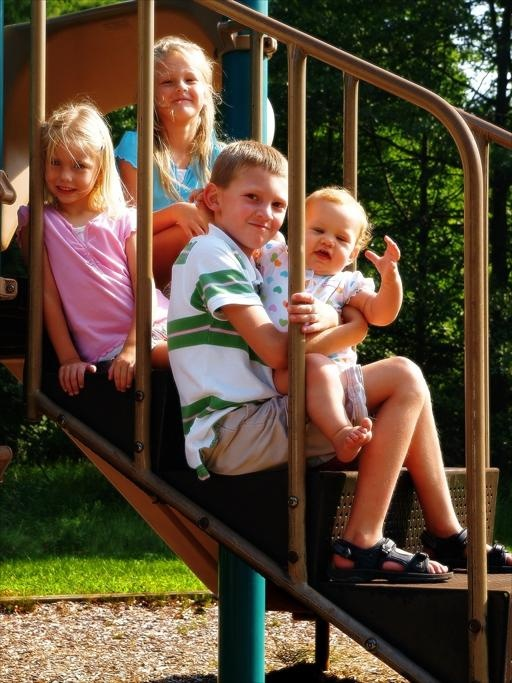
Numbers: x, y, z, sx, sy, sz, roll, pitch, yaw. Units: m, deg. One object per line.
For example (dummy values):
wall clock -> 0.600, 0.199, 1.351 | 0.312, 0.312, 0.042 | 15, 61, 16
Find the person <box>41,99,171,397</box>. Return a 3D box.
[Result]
person -> -0.366, -0.258, 2.292 | 0.310, 0.790, 0.577 | 2, -5, -6

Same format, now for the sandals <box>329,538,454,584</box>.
sandals -> 0.243, 0.407, 1.770 | 0.238, 0.090, 0.081 | -1, -7, -4

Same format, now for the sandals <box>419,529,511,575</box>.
sandals -> 0.422, 0.431, 1.935 | 0.224, 0.086, 0.078 | -1, -1, 0

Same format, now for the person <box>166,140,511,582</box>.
person -> 0.107, 0.010, 1.885 | 0.604, 0.891, 0.381 | 0, -5, 12
